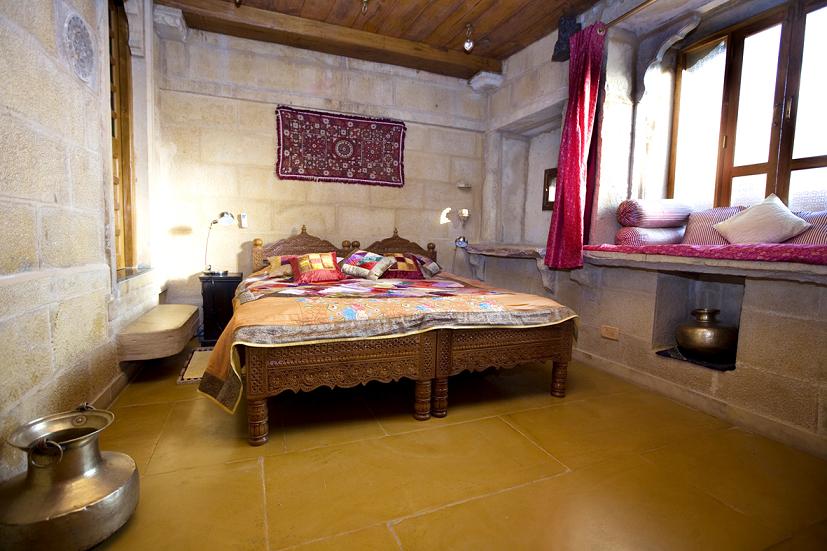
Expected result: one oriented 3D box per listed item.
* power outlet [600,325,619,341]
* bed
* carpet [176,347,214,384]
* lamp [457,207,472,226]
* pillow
[{"bbox_3d":[1.928,0.561,5.190,0.041,0.115,0.161,7,-4,-18],"label":"power outlet"},{"bbox_3d":[-0.302,0.614,4.649,2.866,0.967,1.290,-3,9,-15],"label":"bed"},{"bbox_3d":[-2.061,0.831,5.024,0.236,0.019,0.530,0,9,-14],"label":"carpet"},{"bbox_3d":[0.712,-0.808,7.197,0.228,0.218,0.103,-9,12,-42],"label":"lamp"},{"bbox_3d":[2.802,-0.486,4.619,0.784,0.252,0.758,-6,10,-7],"label":"pillow"}]
